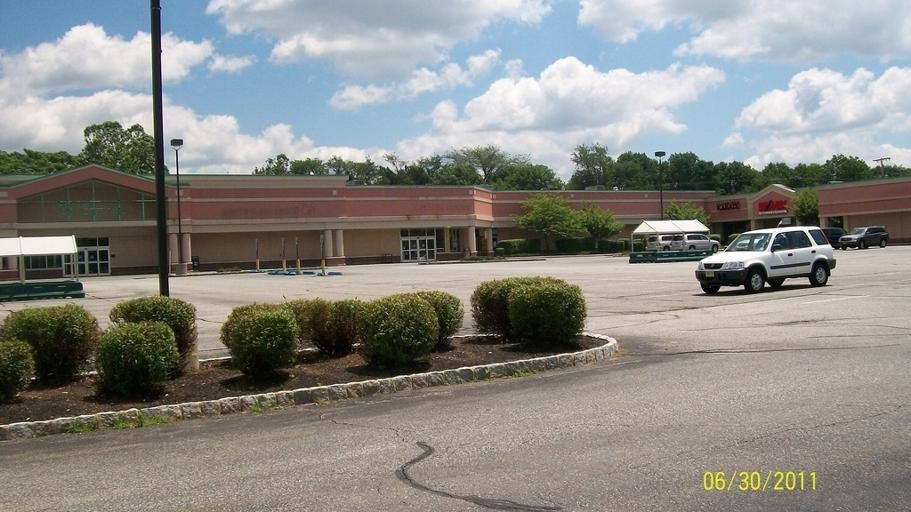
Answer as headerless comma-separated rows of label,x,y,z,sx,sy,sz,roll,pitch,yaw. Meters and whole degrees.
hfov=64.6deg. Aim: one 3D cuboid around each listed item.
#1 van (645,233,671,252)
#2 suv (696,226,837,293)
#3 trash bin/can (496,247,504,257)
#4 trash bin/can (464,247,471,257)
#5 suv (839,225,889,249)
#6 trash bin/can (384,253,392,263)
van,16.554,-1.089,58.895,2.585,1.036,1.360,-4,4,-17
suv,11.625,0.135,26.819,4.798,1.784,2.521,1,-4,-29
trash bin/can,4.521,-0.412,70.864,0.826,0.771,0.833,1,6,-7
trash bin/can,1.261,-0.383,70.467,0.730,1.215,0.726,-1,2,7
suv,32.564,-1.460,57.457,4.172,1.446,1.872,2,-5,-34
trash bin/can,-6.417,0.097,68.815,1.113,0.890,0.514,-2,-1,-37
